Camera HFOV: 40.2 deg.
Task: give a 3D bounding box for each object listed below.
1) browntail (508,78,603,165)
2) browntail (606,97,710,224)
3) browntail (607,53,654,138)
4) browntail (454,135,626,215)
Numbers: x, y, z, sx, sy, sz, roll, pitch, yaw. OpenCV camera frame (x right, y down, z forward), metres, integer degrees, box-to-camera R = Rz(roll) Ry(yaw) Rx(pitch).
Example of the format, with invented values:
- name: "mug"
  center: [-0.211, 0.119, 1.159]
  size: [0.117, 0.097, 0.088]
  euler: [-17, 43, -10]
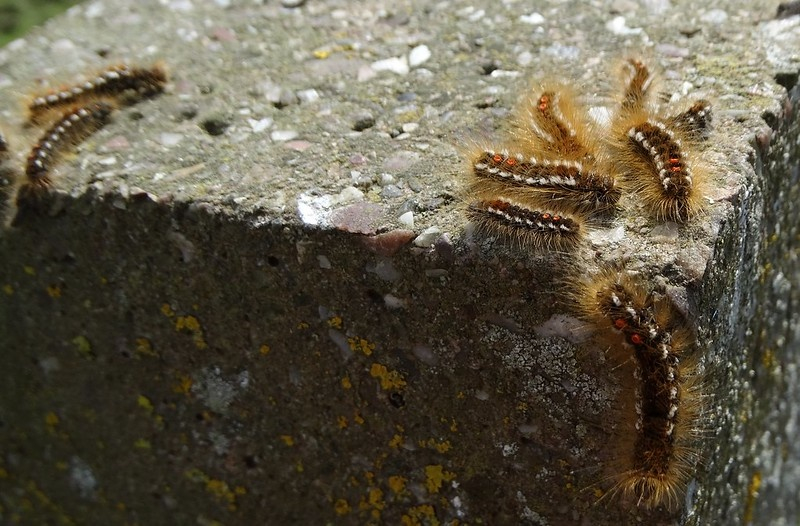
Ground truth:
- name: "browntail"
  center: [0.634, -0.628, 4.359]
  size: [0.284, 0.438, 0.123]
  euler: [16, 99, 25]
- name: "browntail"
  center: [0.974, -0.380, 4.141]
  size: [0.326, 0.197, 0.487]
  euler: [-11, 53, -17]
- name: "browntail"
  center: [0.893, -0.647, 4.216]
  size: [0.170, 0.147, 0.339]
  euler: [7, 44, 20]
- name: "browntail"
  center: [0.531, -0.304, 4.133]
  size: [0.677, 0.225, 0.209]
  euler: [11, 62, 11]
